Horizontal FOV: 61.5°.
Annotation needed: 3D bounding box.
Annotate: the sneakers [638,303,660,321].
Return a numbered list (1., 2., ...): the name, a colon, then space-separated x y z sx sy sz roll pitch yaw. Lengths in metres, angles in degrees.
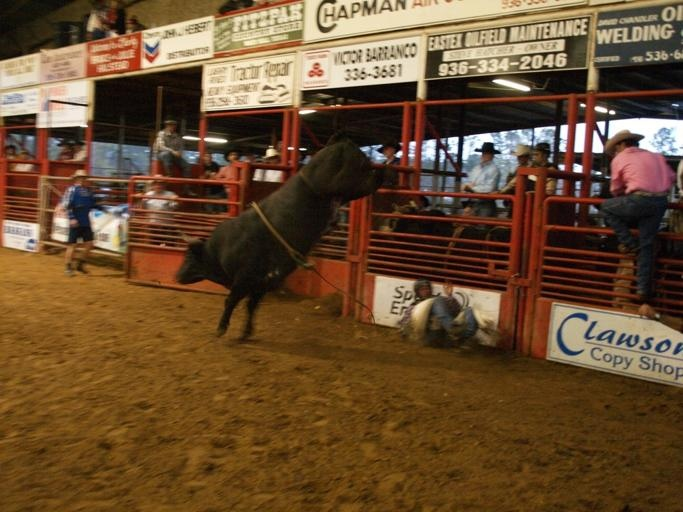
1. sneakers: 3.080 0.564 5.776 0.169 0.056 0.189 -28 50 -17

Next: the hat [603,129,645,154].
1. hat: 2.982 -1.193 6.112 0.339 0.085 0.307 4 -16 -25

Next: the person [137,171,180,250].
1. person: -2.993 -0.713 9.521 0.602 1.058 1.056 -1 16 -16

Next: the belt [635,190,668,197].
1. belt: 3.135 -0.617 5.738 0.338 0.052 0.083 1 14 -5

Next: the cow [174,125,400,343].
1. cow: -0.698 -0.189 6.410 2.146 2.242 0.632 5 18 4

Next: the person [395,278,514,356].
1. person: 1.464 0.713 6.926 0.959 0.513 1.432 -5 7 -29
